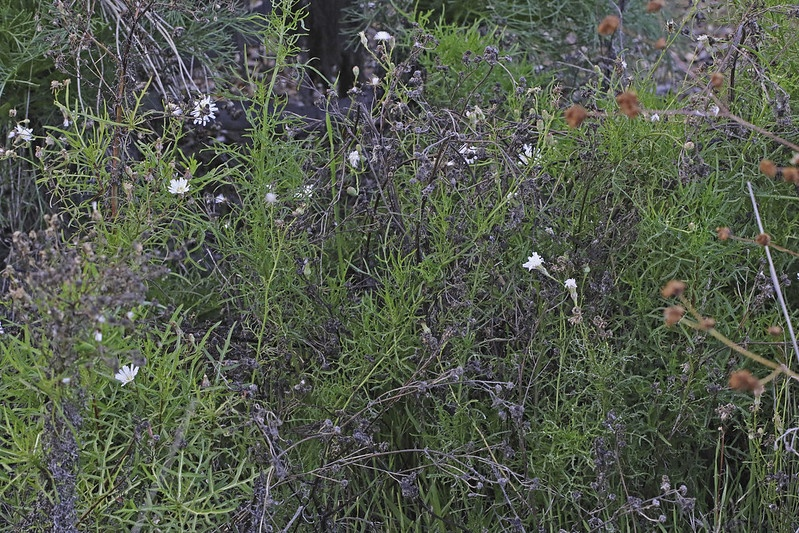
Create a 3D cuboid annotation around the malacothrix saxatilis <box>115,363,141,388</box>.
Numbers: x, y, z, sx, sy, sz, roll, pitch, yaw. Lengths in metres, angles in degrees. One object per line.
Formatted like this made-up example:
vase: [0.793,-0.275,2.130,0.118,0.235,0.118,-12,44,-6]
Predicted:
malacothrix saxatilis: [-0.821,0.326,2.444,0.075,0.045,0.084,-22,36,-7]
